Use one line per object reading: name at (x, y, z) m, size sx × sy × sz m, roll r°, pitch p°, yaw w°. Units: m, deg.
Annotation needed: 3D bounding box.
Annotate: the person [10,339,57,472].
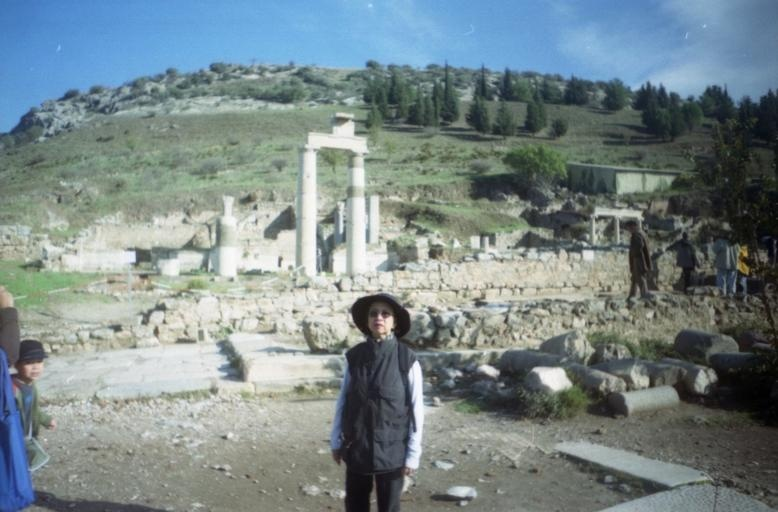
person at (-5.838, 2.526, 11.888) m, size 0.571 × 2.269 × 0.747 m, roll -3°, pitch 4°, yaw -27°
